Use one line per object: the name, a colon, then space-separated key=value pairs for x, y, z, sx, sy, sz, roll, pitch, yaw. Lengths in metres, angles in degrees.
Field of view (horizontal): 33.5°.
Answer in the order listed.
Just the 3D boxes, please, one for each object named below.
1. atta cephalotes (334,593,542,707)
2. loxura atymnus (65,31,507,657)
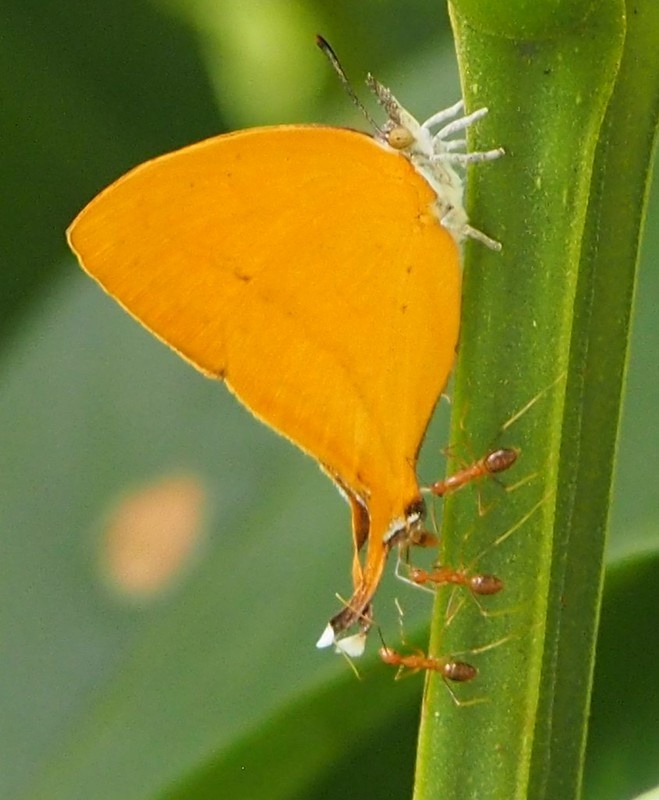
atta cephalotes: x=0.126 y=0.326 z=1.411 sx=0.227 sy=0.094 sz=0.167 roll=9 pitch=6 yaw=-7
loxura atymnus: x=-0.007 y=-0.040 z=1.401 sx=0.524 sy=0.649 sz=0.213 roll=-18 pitch=18 yaw=-11
